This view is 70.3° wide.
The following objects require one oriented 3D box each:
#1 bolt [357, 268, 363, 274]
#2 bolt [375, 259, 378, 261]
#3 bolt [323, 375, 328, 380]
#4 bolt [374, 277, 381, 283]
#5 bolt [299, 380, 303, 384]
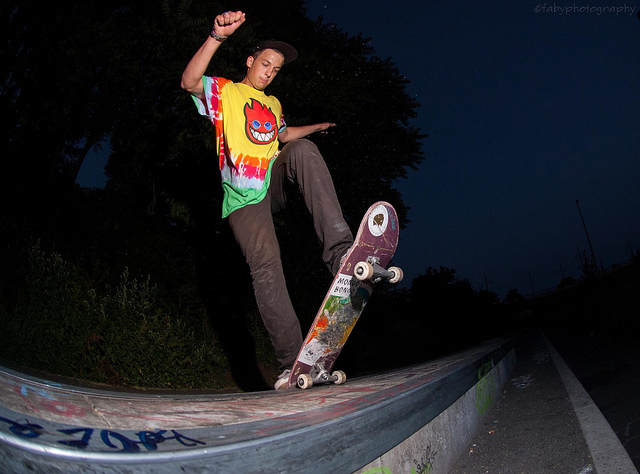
[{"bbox_3d":[0.289,0.328,3.305,0.040,0.045,0.018,3,-5,20],"label":"bolt"},{"bbox_3d":[0.442,0.265,3.592,0.002,0.013,0.058,2,-8,27],"label":"bolt"},{"bbox_3d":[0.040,1.157,3.356,0.030,0.025,0.006,7,-5,-13],"label":"bolt"},{"bbox_3d":[0.452,0.428,3.586,0.049,0.049,0.127,5,-7,7],"label":"bolt"},{"bbox_3d":[-0.139,1.146,3.238,0.003,0.033,0.034,8,-6,-36],"label":"bolt"}]
